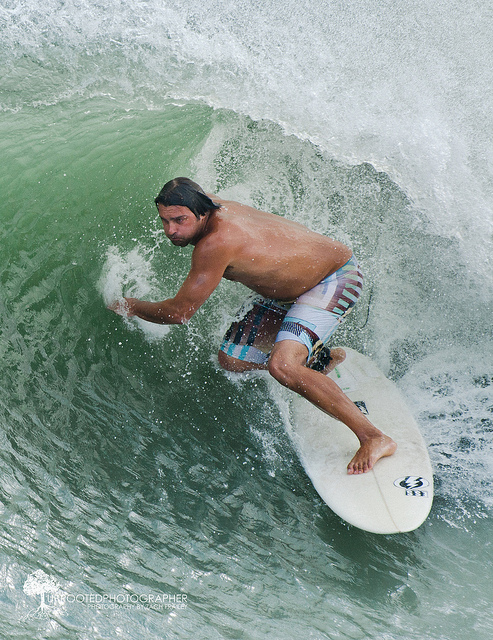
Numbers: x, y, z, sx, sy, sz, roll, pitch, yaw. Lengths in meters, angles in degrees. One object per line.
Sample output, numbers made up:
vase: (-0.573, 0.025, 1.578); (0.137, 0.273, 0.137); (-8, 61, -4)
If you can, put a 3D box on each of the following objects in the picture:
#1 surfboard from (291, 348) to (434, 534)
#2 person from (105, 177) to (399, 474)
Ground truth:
surfboard: (0.607, 0.626, 3.513); (0.557, 1.490, 0.147); (-9, -66, 4)
person: (0.059, -0.089, 3.650); (1.777, 1.169, 1.320); (7, -68, 22)
